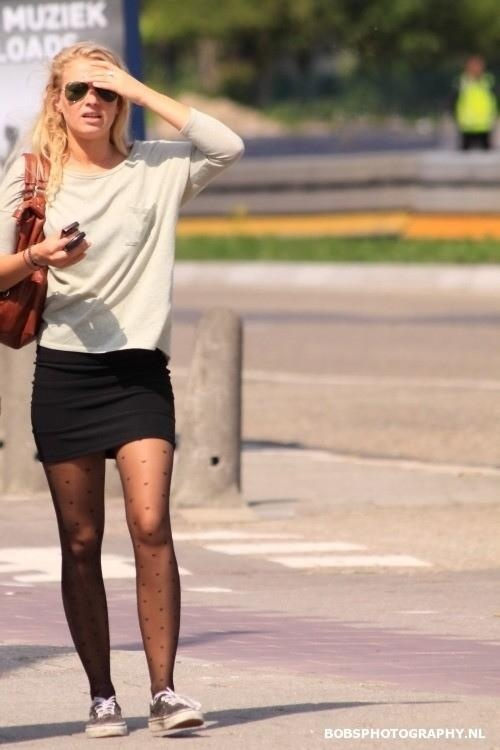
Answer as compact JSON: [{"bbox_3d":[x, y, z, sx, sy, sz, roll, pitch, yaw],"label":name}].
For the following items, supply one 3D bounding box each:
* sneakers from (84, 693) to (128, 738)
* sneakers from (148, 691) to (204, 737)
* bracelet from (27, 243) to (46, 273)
[{"bbox_3d":[-0.369,0.871,3.134,0.089,0.087,0.221,0,-8,-9],"label":"sneakers"},{"bbox_3d":[-0.197,0.835,3.034,0.068,0.081,0.183,1,-11,-30],"label":"sneakers"},{"bbox_3d":[-0.518,-0.289,3.022,0.017,0.062,0.048,-37,66,-20],"label":"bracelet"}]
